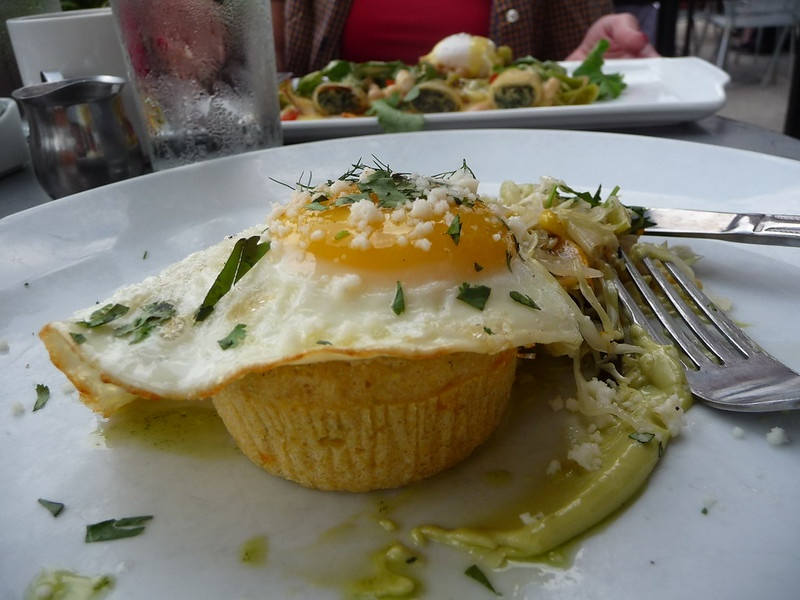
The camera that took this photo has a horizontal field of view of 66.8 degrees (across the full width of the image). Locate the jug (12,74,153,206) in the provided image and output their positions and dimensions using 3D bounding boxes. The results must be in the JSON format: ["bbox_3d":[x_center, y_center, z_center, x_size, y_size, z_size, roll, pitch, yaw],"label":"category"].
[{"bbox_3d":[-1.592,-0.775,2.987,0.460,0.632,0.714,17,32,37],"label":"jug"}]
